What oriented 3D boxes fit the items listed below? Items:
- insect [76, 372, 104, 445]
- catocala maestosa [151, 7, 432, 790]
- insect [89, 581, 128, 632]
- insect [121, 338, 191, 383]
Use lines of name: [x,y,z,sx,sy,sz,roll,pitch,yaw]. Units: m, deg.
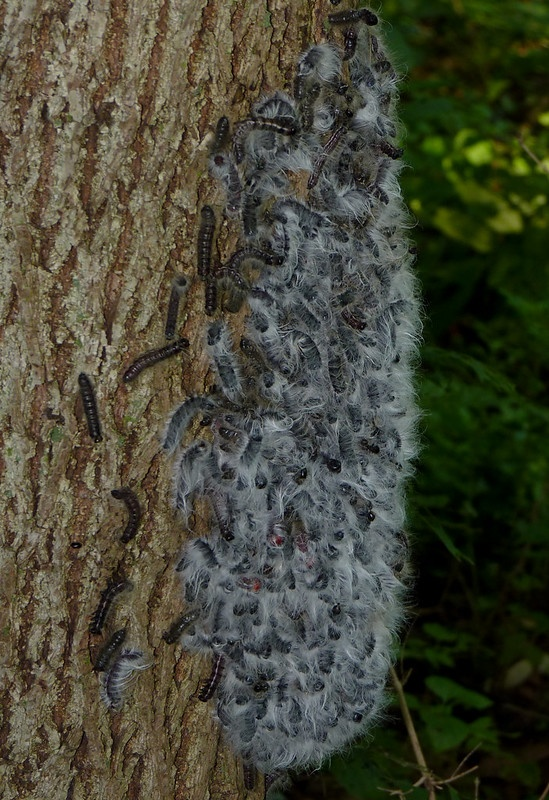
insect: [-0.544,0.022,3.062,0.040,0.226,0.040,-6,11,36]
catocala maestosa: [0.013,-0.149,3.612,1.408,2.160,1.169,4,21,-5]
insect: [-0.520,0.633,3.185,0.065,0.192,0.058,35,-12,-36]
insect: [-0.365,-0.125,3.084,0.231,0.050,0.072,-33,-10,-5]
